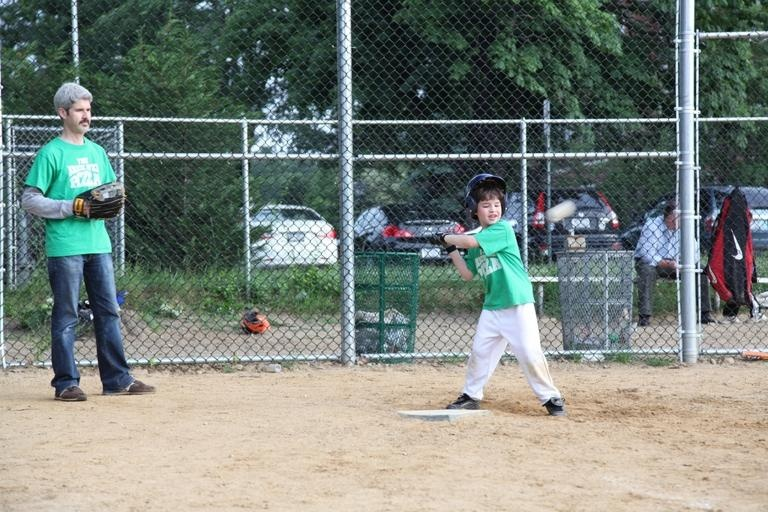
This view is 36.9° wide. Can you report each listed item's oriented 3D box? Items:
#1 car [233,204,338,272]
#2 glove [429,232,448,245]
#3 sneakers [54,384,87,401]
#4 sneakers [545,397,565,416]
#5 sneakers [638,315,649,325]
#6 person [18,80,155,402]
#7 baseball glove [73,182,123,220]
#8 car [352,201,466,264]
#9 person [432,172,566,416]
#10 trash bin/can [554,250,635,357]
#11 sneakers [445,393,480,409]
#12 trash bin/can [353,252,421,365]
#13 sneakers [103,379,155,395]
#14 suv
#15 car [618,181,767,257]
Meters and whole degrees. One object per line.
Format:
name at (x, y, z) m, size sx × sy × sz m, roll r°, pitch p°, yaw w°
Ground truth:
car at (-1.577, -0.248, 17.854) m, size 1.055 × 0.693 × 2.199 m, roll 0°, pitch 4°, yaw -4°
glove at (0.536, -0.169, 11.312) m, size 0.134 × 0.096 × 0.061 m, roll 15°, pitch 1°, yaw 38°
sneakers at (-3.143, 1.381, 11.500) m, size 0.333 × 0.121 × 0.128 m, roll -4°, pitch -4°, yaw 19°
sneakers at (1.668, 1.477, 11.303) m, size 0.218 × 0.167 × 0.191 m, roll -3°, pitch 0°, yaw 7°
sneakers at (3.554, 0.877, 15.757) m, size 0.148 × 0.146 × 0.139 m, roll 5°, pitch -7°, yaw -44°
person at (-3.088, -0.148, 11.640) m, size 1.017 × 3.286 × 0.409 m, roll -3°, pitch 0°, yaw -13°
baseball glove at (-2.837, -0.546, 11.507) m, size 0.439 × 0.315 × 0.201 m, roll -12°, pitch -31°, yaw 24°
car at (0.508, -0.625, 20.394) m, size 1.703 × 0.975 × 3.025 m, roll -3°, pitch 14°, yaw -12°
person at (1.118, 0.387, 11.288) m, size 1.116 × 2.291 × 0.359 m, roll -3°, pitch 0°, yaw 3°
trash bin/can at (2.564, 0.424, 13.919) m, size 1.003 × 1.400 × 0.923 m, roll -6°, pitch 22°, yaw -1°
sneakers at (0.785, 1.443, 11.354) m, size 0.357 × 0.148 × 0.133 m, roll 2°, pitch -7°, yaw -5°
trash bin/can at (0.023, 0.539, 13.450) m, size 0.765 × 1.184 × 0.389 m, roll -3°, pitch 0°, yaw 7°
sneakers at (-2.636, 1.359, 11.867) m, size 0.504 × 0.182 × 0.179 m, roll 0°, pitch -3°, yaw -4°
suv at (2.963, -0.525, 18.048) m, size 1.340 × 0.977 × 2.105 m, roll -1°, pitch 7°, yaw 2°
car at (5.577, -0.712, 20.051) m, size 2.592 × 1.153 × 1.436 m, roll 2°, pitch 0°, yaw 2°
